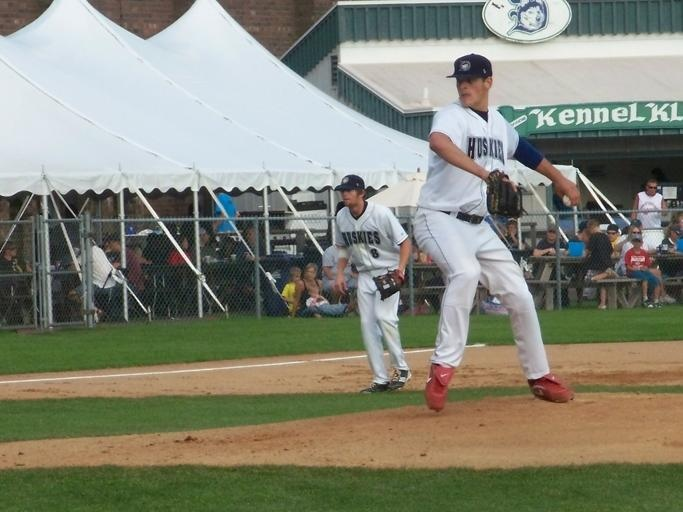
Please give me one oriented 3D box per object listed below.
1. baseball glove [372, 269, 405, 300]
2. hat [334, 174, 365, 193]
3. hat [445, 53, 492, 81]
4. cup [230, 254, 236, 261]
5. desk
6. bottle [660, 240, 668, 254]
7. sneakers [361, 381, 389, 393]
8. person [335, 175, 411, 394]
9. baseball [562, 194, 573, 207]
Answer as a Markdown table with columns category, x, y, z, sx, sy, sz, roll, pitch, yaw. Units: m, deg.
| category | x | y | z | sx | sy | sz | roll | pitch | yaw |
| --- | --- | --- | --- | --- | --- | --- | --- | --- | --- |
| baseball glove | 0.761 | 0.484 | 26.815 | 0.377 | 0.511 | 0.210 | -12 | -26 | 7 |
| hat | 0.155 | -1.204 | 27.112 | 0.369 | 0.229 | 0.282 | 2 | 0 | -16 |
| hat | 2.039 | -2.970 | 25.476 | 0.481 | 0.298 | 0.373 | 0 | 7 | -7 |
| cup | -2.300 | 0.044 | 34.140 | 0.090 | 0.114 | 0.096 | 1 | -2 | 0 |
| desk | -3.902 | 0.735 | 33.371 | 5.818 | 1.270 | 1.382 | -2 | -2 | -4 |
| bottle | 6.846 | -0.176 | 34.443 | 0.172 | 0.348 | 0.181 | 1 | -7 | 0 |
| sneakers | 0.563 | 2.227 | 27.121 | 0.501 | 0.237 | 0.180 | 1 | 0 | -1 |
| person | 0.522 | 0.469 | 27.104 | 1.252 | 3.649 | 0.791 | -2 | -2 | 4 |
| baseball | 3.568 | -0.847 | 25.593 | 0.071 | 0.175 | 0.168 | -13 | 22 | -1 |
